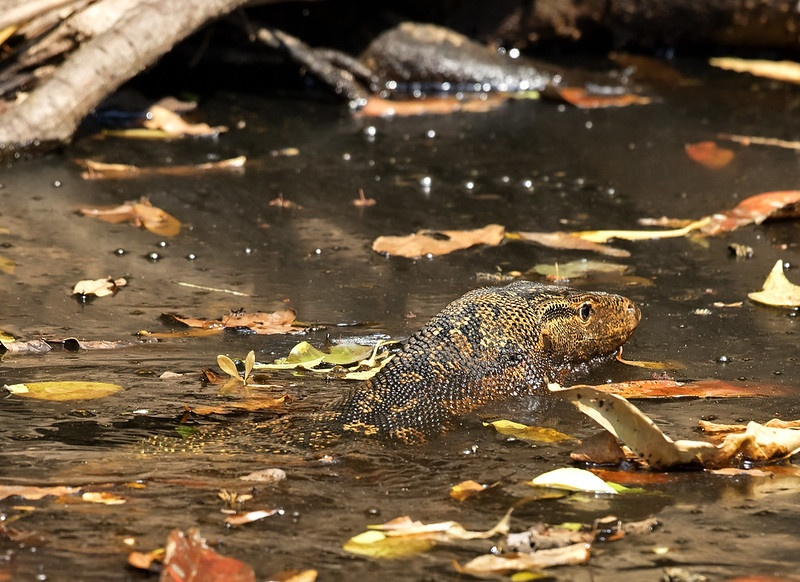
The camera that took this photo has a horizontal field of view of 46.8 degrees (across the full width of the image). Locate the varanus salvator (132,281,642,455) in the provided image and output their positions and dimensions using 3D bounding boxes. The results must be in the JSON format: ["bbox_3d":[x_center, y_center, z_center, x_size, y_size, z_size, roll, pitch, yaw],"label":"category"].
[{"bbox_3d":[0.243,0.393,4.394,1.863,0.762,0.620,-32,76,-9],"label":"varanus salvator"}]
